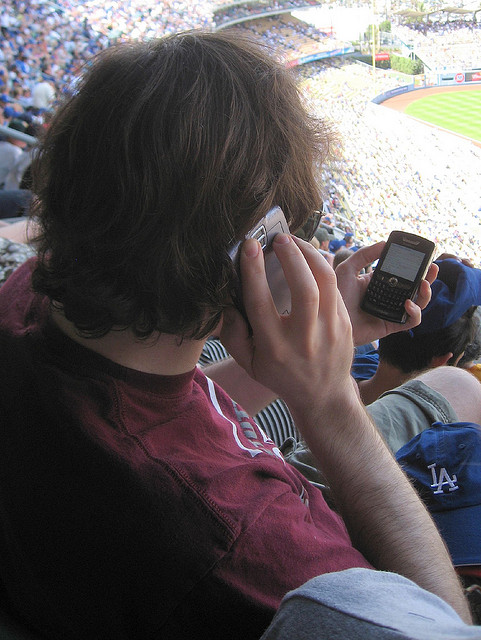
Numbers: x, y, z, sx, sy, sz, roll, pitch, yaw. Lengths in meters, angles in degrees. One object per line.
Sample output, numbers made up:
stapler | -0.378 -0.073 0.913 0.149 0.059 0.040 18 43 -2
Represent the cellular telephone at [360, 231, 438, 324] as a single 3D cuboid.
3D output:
cellular telephone | 0.408 -0.106 1.526 0.134 0.199 0.171 19 37 18
